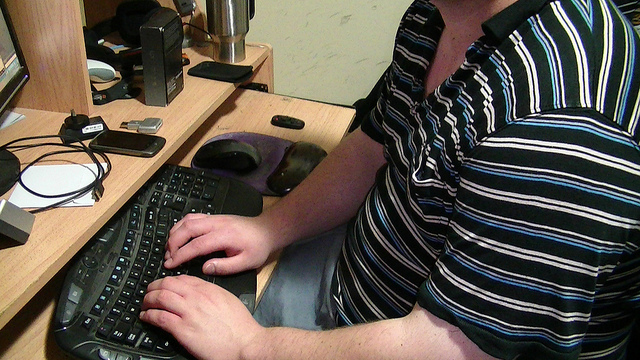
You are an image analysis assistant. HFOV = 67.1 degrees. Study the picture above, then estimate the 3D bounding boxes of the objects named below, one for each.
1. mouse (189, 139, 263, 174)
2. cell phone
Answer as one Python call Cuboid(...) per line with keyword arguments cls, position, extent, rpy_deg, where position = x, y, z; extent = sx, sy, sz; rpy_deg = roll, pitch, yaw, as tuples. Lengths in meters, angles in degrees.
Cuboid(cls="mouse", position=(-0.274, -0.058, 1.388), extent=(0.159, 0.047, 0.101), rpy_deg=(8, 29, -10))
Cuboid(cls="cell phone", position=(-0.493, -0.097, 1.237), extent=(0.154, 0.014, 0.076), rpy_deg=(9, 42, 5))
